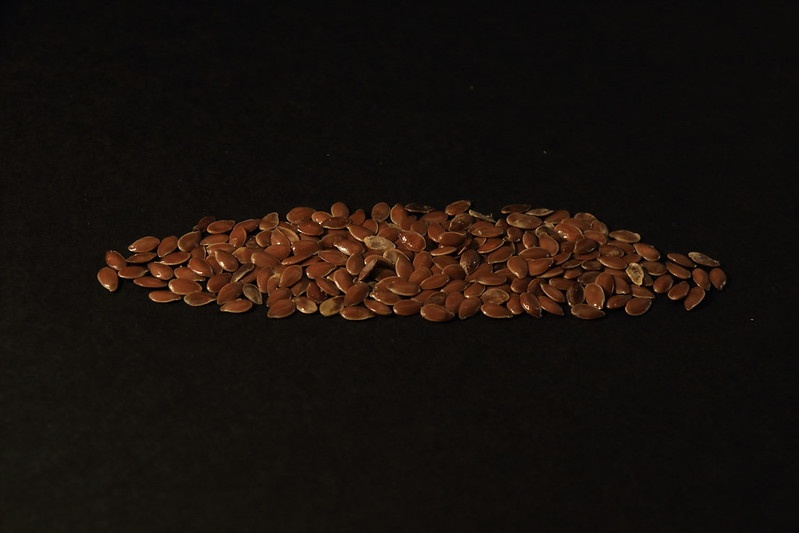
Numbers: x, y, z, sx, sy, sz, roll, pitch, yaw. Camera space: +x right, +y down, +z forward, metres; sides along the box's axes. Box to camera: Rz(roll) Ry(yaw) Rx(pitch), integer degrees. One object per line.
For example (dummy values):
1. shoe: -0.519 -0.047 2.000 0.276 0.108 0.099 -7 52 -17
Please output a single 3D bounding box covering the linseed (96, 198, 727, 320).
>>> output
1. linseed: 0.048 -0.017 2.542 1.998 0.185 0.435 -1 45 1
